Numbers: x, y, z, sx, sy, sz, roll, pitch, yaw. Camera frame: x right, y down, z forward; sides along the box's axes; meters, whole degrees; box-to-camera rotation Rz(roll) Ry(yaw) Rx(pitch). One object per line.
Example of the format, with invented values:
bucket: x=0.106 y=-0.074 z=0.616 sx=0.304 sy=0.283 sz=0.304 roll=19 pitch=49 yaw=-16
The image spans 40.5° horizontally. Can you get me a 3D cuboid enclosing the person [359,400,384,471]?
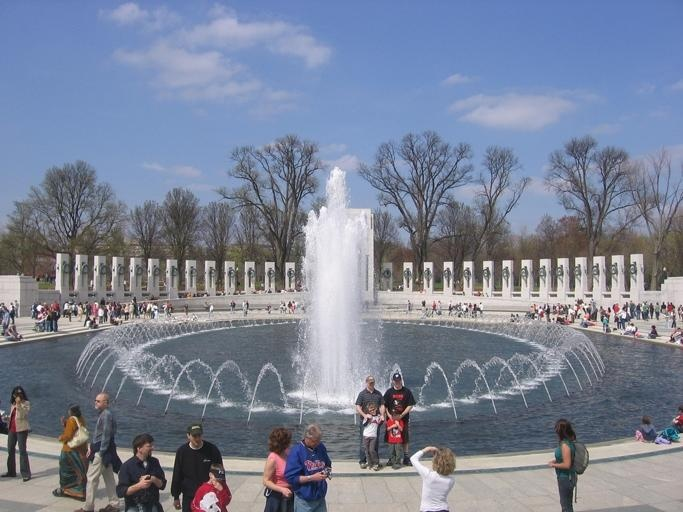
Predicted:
person: x=0.928 y=5.551 z=28.676 sx=0.634 sy=2.107 sz=0.553 roll=-2 pitch=-3 yaw=-1

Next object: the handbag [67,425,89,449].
handbag: x=-7.843 y=5.333 z=27.418 sx=0.348 sy=0.750 sz=0.644 roll=8 pitch=3 yaw=41

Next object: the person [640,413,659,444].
person: x=9.992 y=5.611 z=30.448 sx=0.640 sy=0.921 sz=0.780 roll=-2 pitch=0 yaw=16

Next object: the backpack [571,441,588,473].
backpack: x=6.868 y=5.781 z=26.617 sx=0.425 sy=0.892 sz=0.235 roll=-2 pitch=-3 yaw=-2

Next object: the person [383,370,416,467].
person: x=1.818 y=5.097 z=28.777 sx=1.089 sy=2.834 sz=0.892 roll=-1 pitch=4 yaw=20

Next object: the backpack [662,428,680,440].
backpack: x=10.719 y=5.801 z=30.126 sx=0.463 sy=0.197 sz=0.356 roll=0 pitch=0 yaw=-32

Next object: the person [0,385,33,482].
person: x=-9.879 y=5.412 z=28.315 sx=0.819 sy=2.856 sz=0.358 roll=-3 pitch=-3 yaw=18

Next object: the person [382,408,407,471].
person: x=1.679 y=5.683 z=28.840 sx=0.602 sy=1.765 sz=0.604 roll=-2 pitch=-3 yaw=0

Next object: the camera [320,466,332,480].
camera: x=-0.379 y=6.067 z=25.928 sx=0.384 sy=0.153 sz=0.379 roll=21 pitch=-9 yaw=-16
